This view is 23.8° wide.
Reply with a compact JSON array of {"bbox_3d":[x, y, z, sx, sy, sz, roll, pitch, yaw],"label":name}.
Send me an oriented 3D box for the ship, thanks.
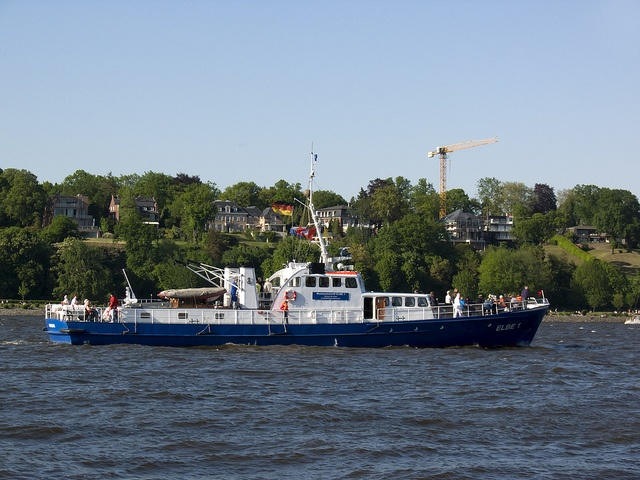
[{"bbox_3d":[1.102,5.014,109.318,41.627,18.701,13.149,0,2,-5],"label":"ship"}]
